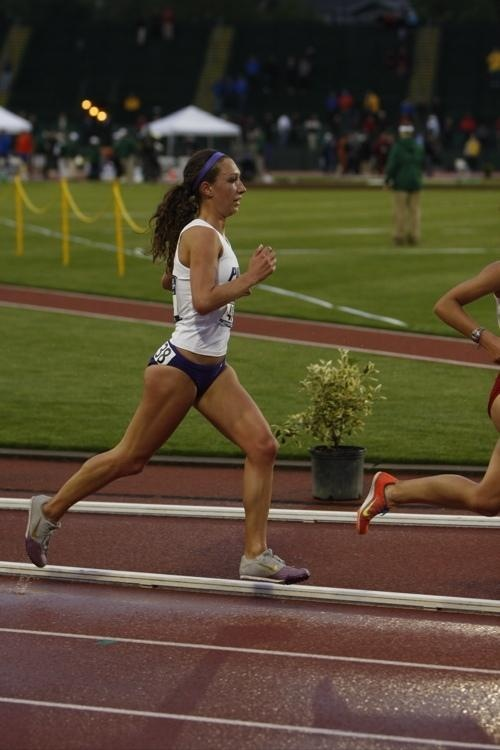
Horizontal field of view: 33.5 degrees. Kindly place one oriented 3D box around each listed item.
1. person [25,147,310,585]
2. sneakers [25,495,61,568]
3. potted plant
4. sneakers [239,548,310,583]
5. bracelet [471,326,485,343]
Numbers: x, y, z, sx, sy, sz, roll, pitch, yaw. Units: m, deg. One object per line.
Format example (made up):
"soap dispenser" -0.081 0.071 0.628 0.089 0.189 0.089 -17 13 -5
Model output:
"person" -0.350 -0.029 3.841 1.126 2.038 0.601 1 1 19
"sneakers" -1.013 0.748 4.001 0.192 0.357 0.139 1 4 16
"potted plant" 0.619 0.406 6.269 0.873 0.980 0.698 -3 -8 0
"sneakers" 0.086 0.904 3.951 0.421 0.163 0.133 1 -1 1
"bracelet" 0.872 -0.148 3.198 0.046 0.059 0.069 9 16 36
